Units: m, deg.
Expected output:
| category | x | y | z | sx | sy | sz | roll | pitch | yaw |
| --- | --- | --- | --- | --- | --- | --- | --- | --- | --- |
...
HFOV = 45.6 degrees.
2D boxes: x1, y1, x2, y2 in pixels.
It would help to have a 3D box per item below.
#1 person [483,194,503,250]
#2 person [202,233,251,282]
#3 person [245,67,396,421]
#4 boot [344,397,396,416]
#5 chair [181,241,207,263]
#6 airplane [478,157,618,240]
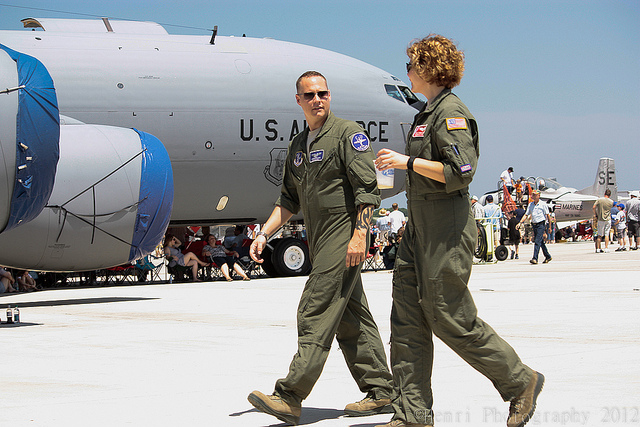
| category | x | y | z | sx | sy | sz | roll | pitch | yaw |
| --- | --- | --- | --- | --- | --- | --- | --- | --- | --- |
| person | 5.351 | 0.266 | 23.763 | 0.676 | 1.608 | 0.469 | -3 | 9 | 9 |
| person | -2.489 | 1.044 | 19.426 | 0.783 | 0.790 | 1.682 | -3 | 15 | -37 |
| person | 0.050 | 0.278 | 7.453 | 1.327 | 3.275 | 0.989 | 1 | -7 | 1 |
| boot | 0.443 | 1.791 | 7.155 | 0.486 | 0.203 | 0.175 | 3 | -6 | -12 |
| chair | -3.405 | 1.089 | 20.639 | 0.549 | 0.663 | 0.718 | -2 | -2 | 15 |
| airplane | 10.547 | -0.186 | 35.308 | 4.797 | 2.299 | 5.335 | 3 | 3 | 7 |
